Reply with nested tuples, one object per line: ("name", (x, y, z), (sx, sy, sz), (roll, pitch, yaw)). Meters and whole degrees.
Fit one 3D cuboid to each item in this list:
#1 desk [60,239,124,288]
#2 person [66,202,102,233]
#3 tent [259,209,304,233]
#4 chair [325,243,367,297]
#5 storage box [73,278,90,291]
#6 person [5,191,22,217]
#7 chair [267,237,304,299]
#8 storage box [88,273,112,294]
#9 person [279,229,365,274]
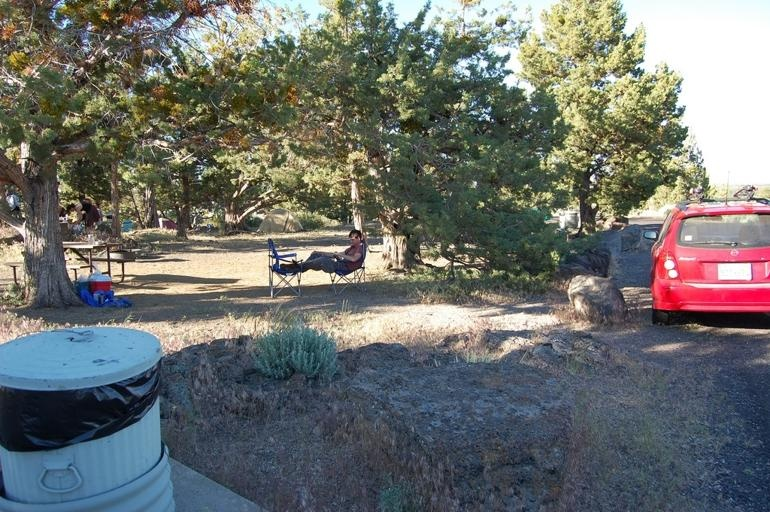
("desk", (-7.614, 0.136, 16.346), (1.318, 0.795, 1.518), (-16, 7, -27))
("person", (-10.789, -1.359, 23.149), (1.603, 1.075, 0.709), (3, 14, 23))
("tent", (-6.936, -2.360, 43.385), (2.167, 1.089, 2.235), (0, 4, -9))
("chair", (-0.883, 0.288, 16.050), (1.092, 1.790, 1.031), (0, 2, -19))
("storage box", (-6.431, 0.597, 13.710), (0.262, 0.270, 0.270), (1, -2, -14))
("person", (-13.153, -1.857, 22.939), (0.378, 0.797, 1.623), (0, 0, -30))
("chair", (-2.281, 0.271, 14.972), (0.947, 1.251, 1.015), (5, 9, 19))
("storage box", (-5.966, 0.579, 13.729), (0.401, 0.592, 0.393), (-1, -3, 17))
("person", (-1.366, -0.094, 15.003), (1.779, 1.062, 0.870), (5, 6, -11))
